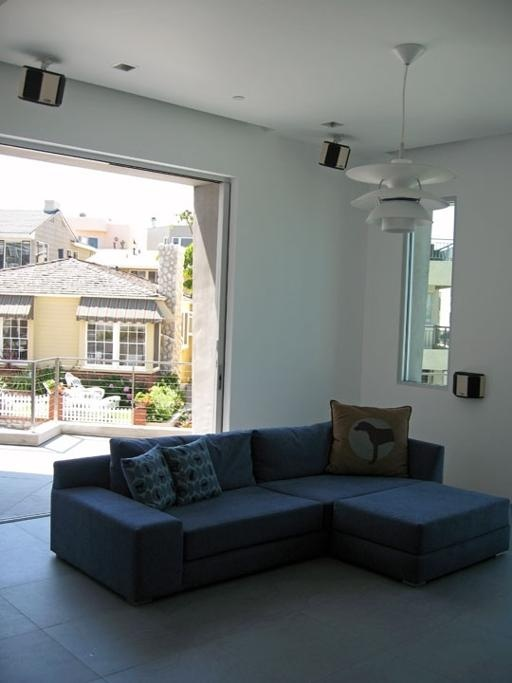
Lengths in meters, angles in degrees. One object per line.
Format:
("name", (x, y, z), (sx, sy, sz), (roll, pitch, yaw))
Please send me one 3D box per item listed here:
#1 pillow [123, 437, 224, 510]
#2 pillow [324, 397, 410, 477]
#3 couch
("pillow", (-0.456, 0.708, 3.162), (0.082, 0.196, 0.367), (-31, -17, 36))
("pillow", (0.766, 0.672, 4.070), (0.510, 0.427, 0.175), (2, -22, 8))
("couch", (0.131, 0.889, 3.306), (2.415, 0.697, 1.160), (0, 2, -16))
